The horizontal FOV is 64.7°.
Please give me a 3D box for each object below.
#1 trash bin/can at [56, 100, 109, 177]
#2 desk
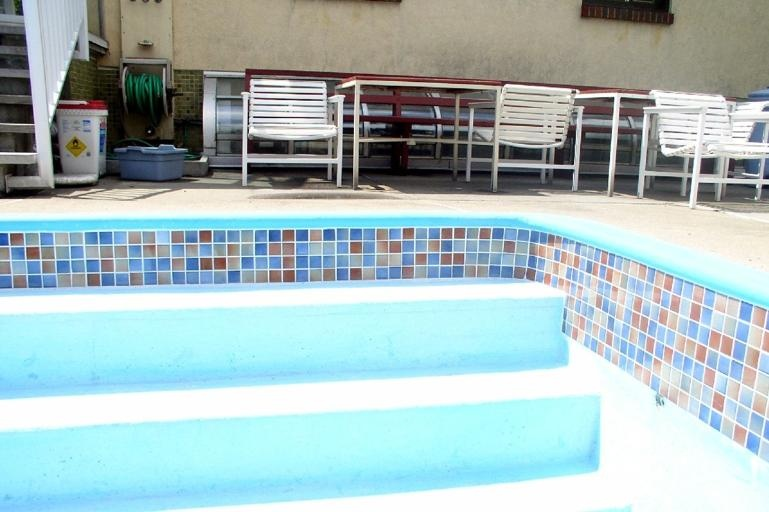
[{"bbox_3d":[-3.316,-1.289,6.672,0.485,0.816,0.585,-3,11,-9],"label":"trash bin/can"},{"bbox_3d":[1.009,-1.411,7.058,3.042,1.280,2.377,-1,11,-3],"label":"desk"}]
